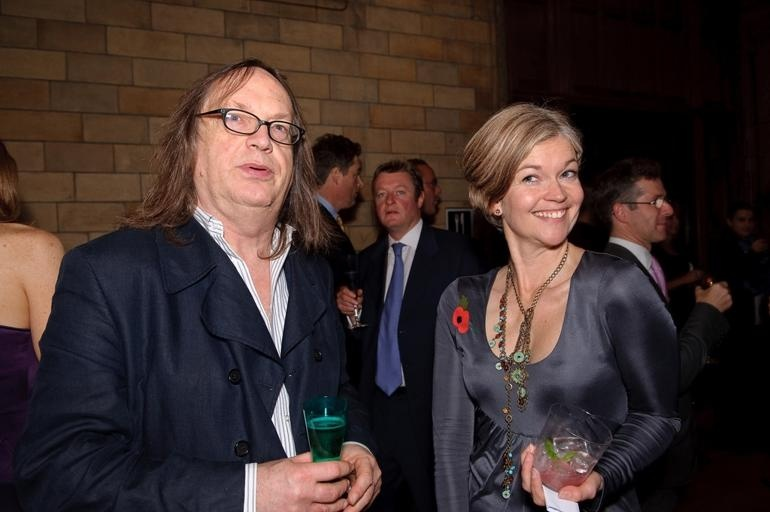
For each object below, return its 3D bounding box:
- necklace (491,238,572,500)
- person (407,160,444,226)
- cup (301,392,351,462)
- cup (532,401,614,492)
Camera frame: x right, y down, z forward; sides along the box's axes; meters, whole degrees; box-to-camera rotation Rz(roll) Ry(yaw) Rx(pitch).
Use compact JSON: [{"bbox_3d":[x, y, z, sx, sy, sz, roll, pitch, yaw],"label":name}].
[{"bbox_3d":[0.629,0.511,2.891,0.353,1.229,0.063,-4,-22,30],"label":"necklace"},{"bbox_3d":[0.420,-0.674,6.242,0.514,0.728,0.707,-2,4,-6],"label":"person"},{"bbox_3d":[-0.241,0.719,2.536,0.150,0.260,0.132,3,8,32],"label":"cup"},{"bbox_3d":[0.806,0.822,2.575,0.242,0.287,0.263,30,13,-8],"label":"cup"}]
